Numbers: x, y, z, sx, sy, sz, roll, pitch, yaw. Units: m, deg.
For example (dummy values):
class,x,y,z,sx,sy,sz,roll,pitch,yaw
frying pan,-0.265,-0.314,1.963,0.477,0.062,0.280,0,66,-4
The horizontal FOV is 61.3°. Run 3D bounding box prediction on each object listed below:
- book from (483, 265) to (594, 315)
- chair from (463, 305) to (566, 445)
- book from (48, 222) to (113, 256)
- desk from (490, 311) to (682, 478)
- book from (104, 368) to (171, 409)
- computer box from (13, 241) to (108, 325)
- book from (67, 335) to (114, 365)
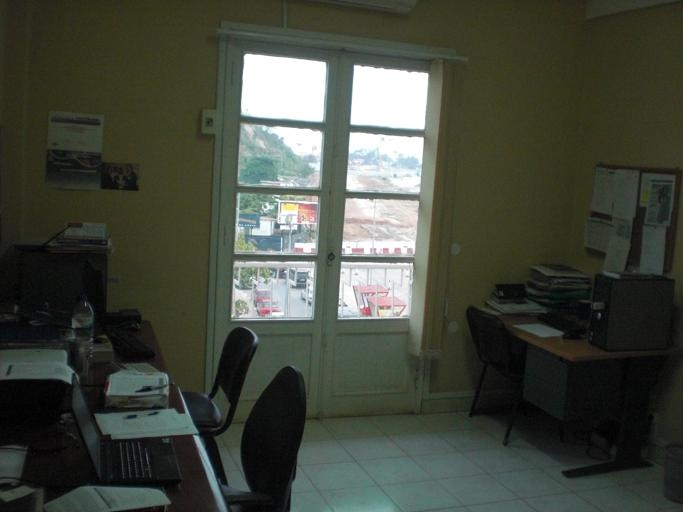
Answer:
class,x,y,z,sx,sy,sz,roll,pitch,yaw
book,1.619,0.290,4.704,0.615,0.201,0.452,-3,9,-18
chair,1.387,0.901,4.672,0.671,0.972,0.578,-9,11,-27
book,-1.631,-0.106,3.624,0.282,0.118,0.280,-1,7,-8
desk,1.815,0.929,4.320,0.845,0.776,1.551,-4,10,-11
book,-0.969,0.631,2.716,0.192,0.070,0.191,4,11,-12
computer box,-1.712,0.146,3.651,0.742,0.539,0.397,2,3,-10
book,-1.340,0.514,3.124,0.163,0.068,0.173,4,3,-39
